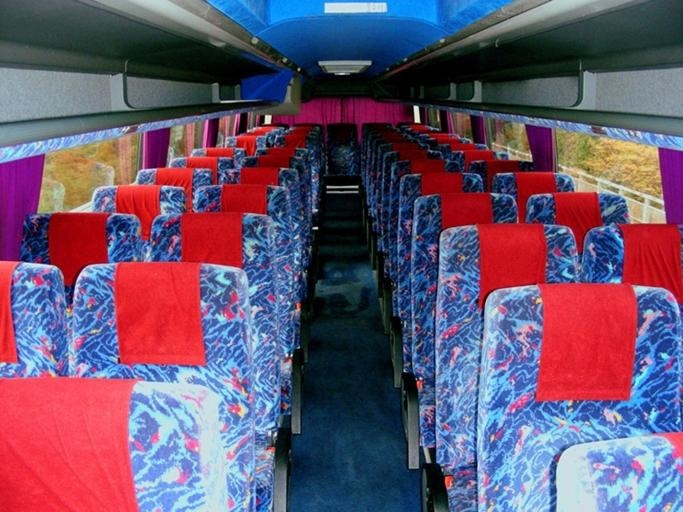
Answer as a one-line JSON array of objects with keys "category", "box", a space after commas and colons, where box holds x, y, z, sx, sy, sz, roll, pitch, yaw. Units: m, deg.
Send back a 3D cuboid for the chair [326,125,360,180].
[{"category": "chair", "box": [0.061, -2.720, 13.284, 0.808, 1.200, 1.028, 0, -44, -2]}]
